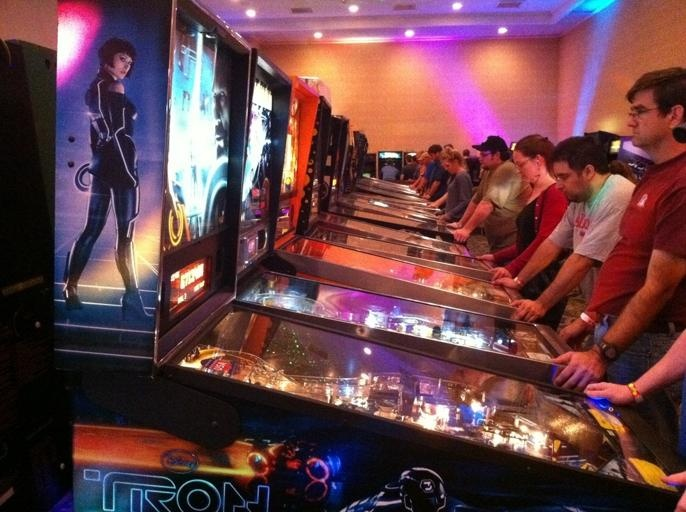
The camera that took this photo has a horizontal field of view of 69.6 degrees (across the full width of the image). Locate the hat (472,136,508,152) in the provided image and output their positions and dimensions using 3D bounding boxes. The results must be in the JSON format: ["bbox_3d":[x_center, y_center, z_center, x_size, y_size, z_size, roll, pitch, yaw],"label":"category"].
[{"bbox_3d":[1.256,-0.944,4.241,0.286,0.132,0.199,3,11,9],"label":"hat"}]
